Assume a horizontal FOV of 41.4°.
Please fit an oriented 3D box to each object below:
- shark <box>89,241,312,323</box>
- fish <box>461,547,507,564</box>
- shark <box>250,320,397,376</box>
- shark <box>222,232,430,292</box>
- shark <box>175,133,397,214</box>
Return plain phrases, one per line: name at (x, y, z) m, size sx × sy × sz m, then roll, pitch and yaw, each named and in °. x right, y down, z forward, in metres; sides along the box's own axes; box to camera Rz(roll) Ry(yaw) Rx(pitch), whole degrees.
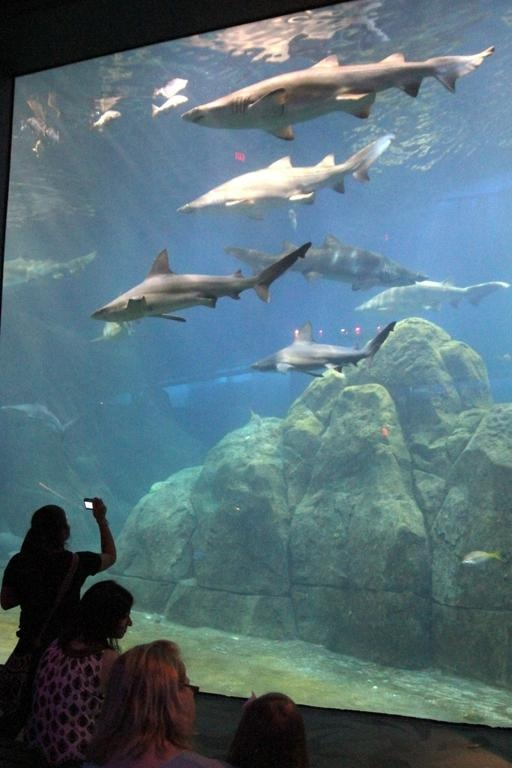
shark at (-0.615, -0.835, 6.812) m, size 1.971 × 0.865 × 0.621 m, roll -8°, pitch -42°, yaw -8°
fish at (3.137, 2.432, 9.412) m, size 0.566 × 0.250 × 0.471 m, roll 2°, pitch -12°, yaw 21°
shark at (0.902, -0.422, 10.152) m, size 2.358 × 0.813 × 0.831 m, roll -5°, pitch 34°, yaw 34°
shark at (1.088, -1.759, 9.988) m, size 3.041 × 0.605 × 0.702 m, roll 2°, pitch 16°, yaw -16°
shark at (0.284, -2.056, 6.998) m, size 2.002 × 0.665 × 0.510 m, roll 1°, pitch -13°, yaw 22°
